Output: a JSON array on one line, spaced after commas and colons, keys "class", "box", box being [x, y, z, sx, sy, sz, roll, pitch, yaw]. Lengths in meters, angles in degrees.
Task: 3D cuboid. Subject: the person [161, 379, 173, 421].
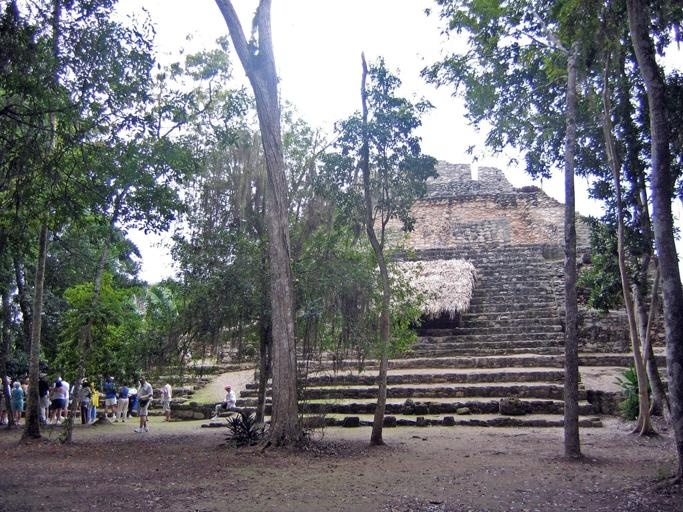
[{"class": "person", "box": [-6.329, 5.207, 22.181, 0.330, 1.320, 1.758, 2, -11, -16]}]

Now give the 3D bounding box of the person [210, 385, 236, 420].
[{"class": "person", "box": [-4.217, 5.154, 21.917, 1.001, 1.125, 1.143, -1, -10, -1]}]

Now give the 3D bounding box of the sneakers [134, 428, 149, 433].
[{"class": "sneakers", "box": [-6.185, 5.332, 18.921, 0.276, 0.133, 0.110, 5, -18, 1]}]
